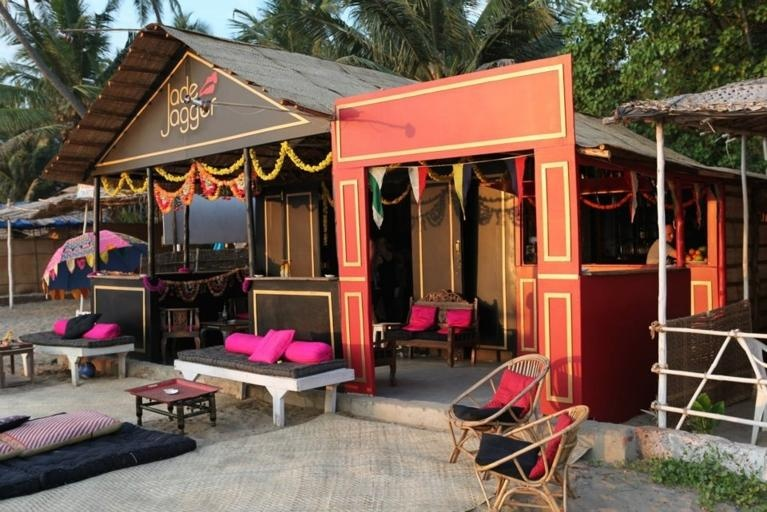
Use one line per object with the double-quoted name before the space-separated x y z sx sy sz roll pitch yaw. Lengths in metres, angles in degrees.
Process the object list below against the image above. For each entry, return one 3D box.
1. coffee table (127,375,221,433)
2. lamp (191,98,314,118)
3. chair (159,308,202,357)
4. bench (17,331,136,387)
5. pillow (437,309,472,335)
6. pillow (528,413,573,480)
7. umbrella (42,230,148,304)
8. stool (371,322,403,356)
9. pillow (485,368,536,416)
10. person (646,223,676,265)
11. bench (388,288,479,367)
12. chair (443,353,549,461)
"coffee table" -3.287 2.351 10.943 1.187 0.516 1.012 2 7 33
"lamp" -2.239 -2.616 12.292 2.310 0.239 0.470 8 5 32
"chair" -4.276 1.630 14.825 0.889 1.086 0.835 -1 -3 -17
"bench" -6.102 2.040 14.072 2.025 0.924 1.084 -1 -1 21
"pillow" 1.265 1.233 13.157 0.695 0.429 0.721 -2 -1 29
"pillow" 1.998 2.266 8.317 0.453 0.699 0.531 -2 -1 28
"umbrella" -7.127 -0.002 17.790 2.648 1.112 2.626 3 8 -44
"stool" 0.023 1.570 13.386 0.622 0.600 0.605 1 -6 -10
"pillow" 1.777 1.859 9.634 0.542 0.534 0.200 8 -27 46
"person" 5.400 -0.145 13.268 0.639 0.842 0.564 -7 7 -32
"bench" 0.869 1.400 13.452 1.771 1.185 0.922 -3 -3 45
"chair" 1.572 2.102 9.574 1.404 1.249 1.101 -6 2 -18
